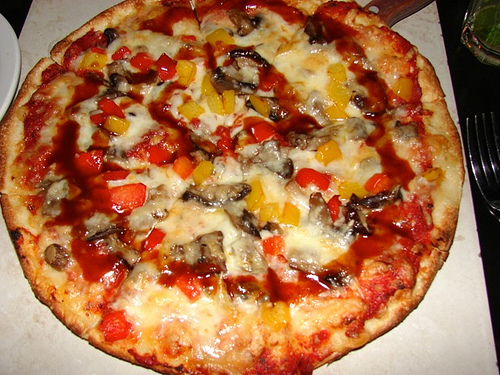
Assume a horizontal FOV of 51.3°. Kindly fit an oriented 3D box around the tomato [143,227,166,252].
[{"bbox_3d":[-0.935,0.513,5.111,0.133,0.056,0.238,31,80,14],"label":"tomato"}]

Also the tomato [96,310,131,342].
[{"bbox_3d":[-1.256,1.297,4.865,0.304,0.091,0.274,-23,86,-2],"label":"tomato"}]

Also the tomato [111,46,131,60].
[{"bbox_3d":[-1.430,-1.482,5.731,0.159,0.046,0.157,36,86,10],"label":"tomato"}]

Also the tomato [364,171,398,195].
[{"bbox_3d":[1.290,-0.041,5.195,0.275,0.060,0.219,-44,87,-3],"label":"tomato"}]
